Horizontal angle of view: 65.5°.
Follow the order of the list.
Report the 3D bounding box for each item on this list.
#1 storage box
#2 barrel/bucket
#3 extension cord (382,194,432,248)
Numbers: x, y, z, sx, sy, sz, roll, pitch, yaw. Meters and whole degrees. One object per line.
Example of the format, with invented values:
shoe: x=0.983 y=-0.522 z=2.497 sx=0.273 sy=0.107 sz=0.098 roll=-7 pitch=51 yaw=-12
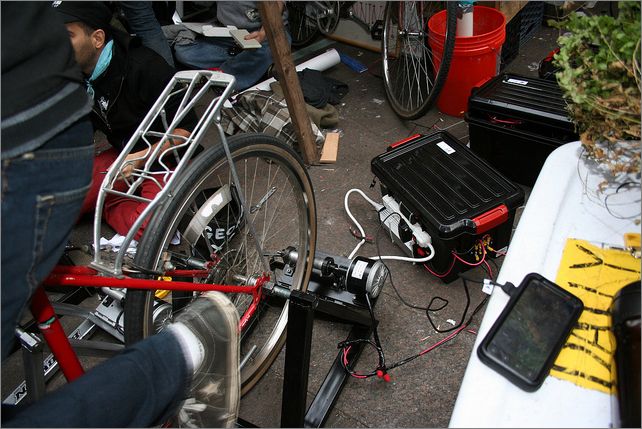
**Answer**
storage box: x=1.026 y=-0.475 z=2.556 sx=0.550 sy=0.453 sz=0.376 roll=29 pitch=67 yaw=22
barrel/bucket: x=0.886 y=-1.014 z=3.032 sx=0.462 sy=0.349 sz=0.687 roll=-2 pitch=76 yaw=10
extension cord: x=0.395 y=0.062 z=2.350 sx=0.176 sy=0.122 sz=0.261 roll=-37 pitch=82 yaw=5
